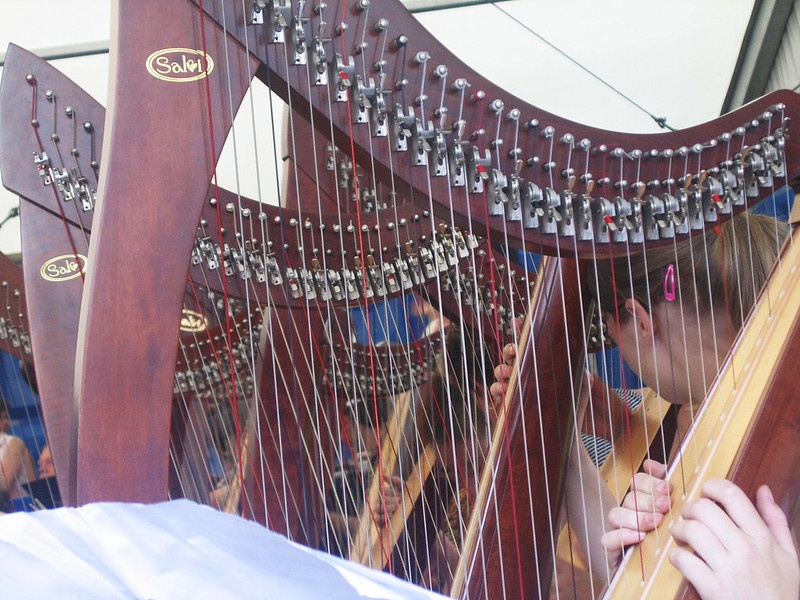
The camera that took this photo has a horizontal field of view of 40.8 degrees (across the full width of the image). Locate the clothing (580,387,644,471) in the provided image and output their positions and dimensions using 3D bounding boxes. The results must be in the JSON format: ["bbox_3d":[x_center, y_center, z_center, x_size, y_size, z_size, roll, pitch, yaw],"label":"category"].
[{"bbox_3d":[0.921,0.514,4.363,0.247,0.157,0.486,-13,13,3],"label":"clothing"}]
